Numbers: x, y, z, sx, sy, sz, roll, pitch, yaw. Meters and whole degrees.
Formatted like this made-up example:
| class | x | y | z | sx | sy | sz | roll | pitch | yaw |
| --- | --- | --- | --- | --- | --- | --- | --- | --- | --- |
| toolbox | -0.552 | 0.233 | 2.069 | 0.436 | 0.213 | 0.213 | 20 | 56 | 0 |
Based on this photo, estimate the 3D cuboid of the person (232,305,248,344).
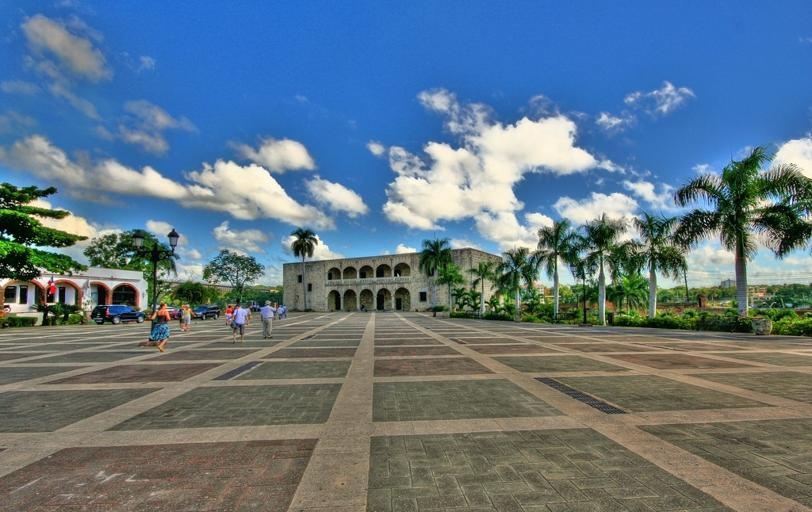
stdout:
| class | x | y | z | sx | sy | sz | roll | pitch | yaw |
| --- | --- | --- | --- | --- | --- | --- | --- | --- | --- |
| person | -6.758 | 2.639 | 17.886 | 0.670 | 1.396 | 0.517 | -1 | -10 | 3 |

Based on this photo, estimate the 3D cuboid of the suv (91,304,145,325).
| class | x | y | z | sx | sy | sz | roll | pitch | yaw |
| --- | --- | --- | --- | --- | --- | --- | --- | --- | --- |
| suv | -21.562 | 4.305 | 32.934 | 2.284 | 1.381 | 2.488 | -3 | -8 | 12 |
